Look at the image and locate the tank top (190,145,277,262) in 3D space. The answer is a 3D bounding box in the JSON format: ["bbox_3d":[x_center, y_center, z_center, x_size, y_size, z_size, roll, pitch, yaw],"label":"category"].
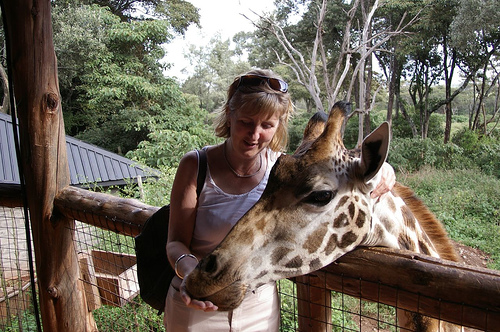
[{"bbox_3d":[-0.118,0.269,2.409,0.431,0.635,0.348,27,-5,41],"label":"tank top"}]

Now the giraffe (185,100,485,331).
[{"bbox_3d":[0.587,0.032,3.308,2.324,2.602,1.040,8,18,-25],"label":"giraffe"}]
